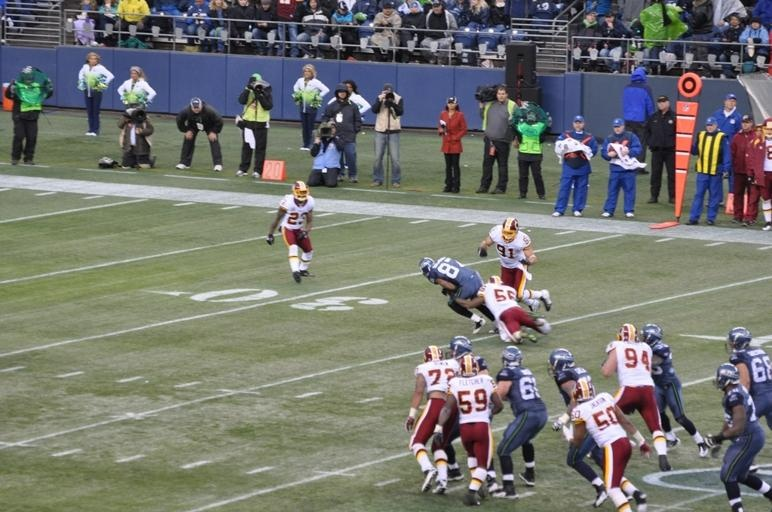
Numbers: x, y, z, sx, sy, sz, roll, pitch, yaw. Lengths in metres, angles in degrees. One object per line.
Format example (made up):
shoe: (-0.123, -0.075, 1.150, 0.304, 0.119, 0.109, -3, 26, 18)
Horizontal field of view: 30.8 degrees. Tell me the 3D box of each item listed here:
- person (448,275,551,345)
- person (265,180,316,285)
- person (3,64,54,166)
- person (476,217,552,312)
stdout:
person: (2.070, 0.916, 24.073, 1.668, 1.130, 1.033, -1, 0, 9)
person: (-1.829, -0.481, 27.652, 0.809, 1.955, 1.095, -1, 6, -4)
person: (-9.320, -3.755, 36.802, 1.053, 2.342, 1.165, -2, 6, -13)
person: (2.398, 0.286, 25.502, 1.500, 1.819, 1.148, 0, 17, -8)
